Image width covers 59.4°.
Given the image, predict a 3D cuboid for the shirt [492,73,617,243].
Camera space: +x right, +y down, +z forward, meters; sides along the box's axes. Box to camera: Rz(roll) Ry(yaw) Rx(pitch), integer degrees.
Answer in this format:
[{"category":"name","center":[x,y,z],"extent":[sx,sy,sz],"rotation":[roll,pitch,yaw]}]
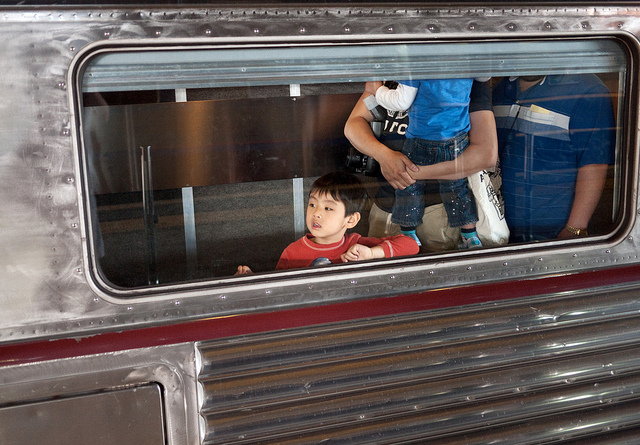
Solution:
[{"category":"shirt","center":[1.154,-0.335,2.726],"extent":[0.756,0.744,0.351],"rotation":[12,19,37]}]

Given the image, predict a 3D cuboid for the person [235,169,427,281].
[{"category":"person","center":[0.021,-0.029,2.764],"extent":[0.992,0.342,1.225],"rotation":[5,6,16]}]

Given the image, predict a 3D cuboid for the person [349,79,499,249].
[{"category":"person","center":[0.565,-0.296,2.967],"extent":[0.893,0.726,0.315],"rotation":[13,5,0]}]

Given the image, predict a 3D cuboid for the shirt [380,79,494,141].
[{"category":"shirt","center":[0.539,-0.523,2.776],"extent":[0.442,0.270,0.565],"rotation":[7,5,37]}]

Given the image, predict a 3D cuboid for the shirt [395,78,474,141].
[{"category":"shirt","center":[0.568,-0.559,2.625],"extent":[0.406,0.315,0.215],"rotation":[6,3,0]}]
